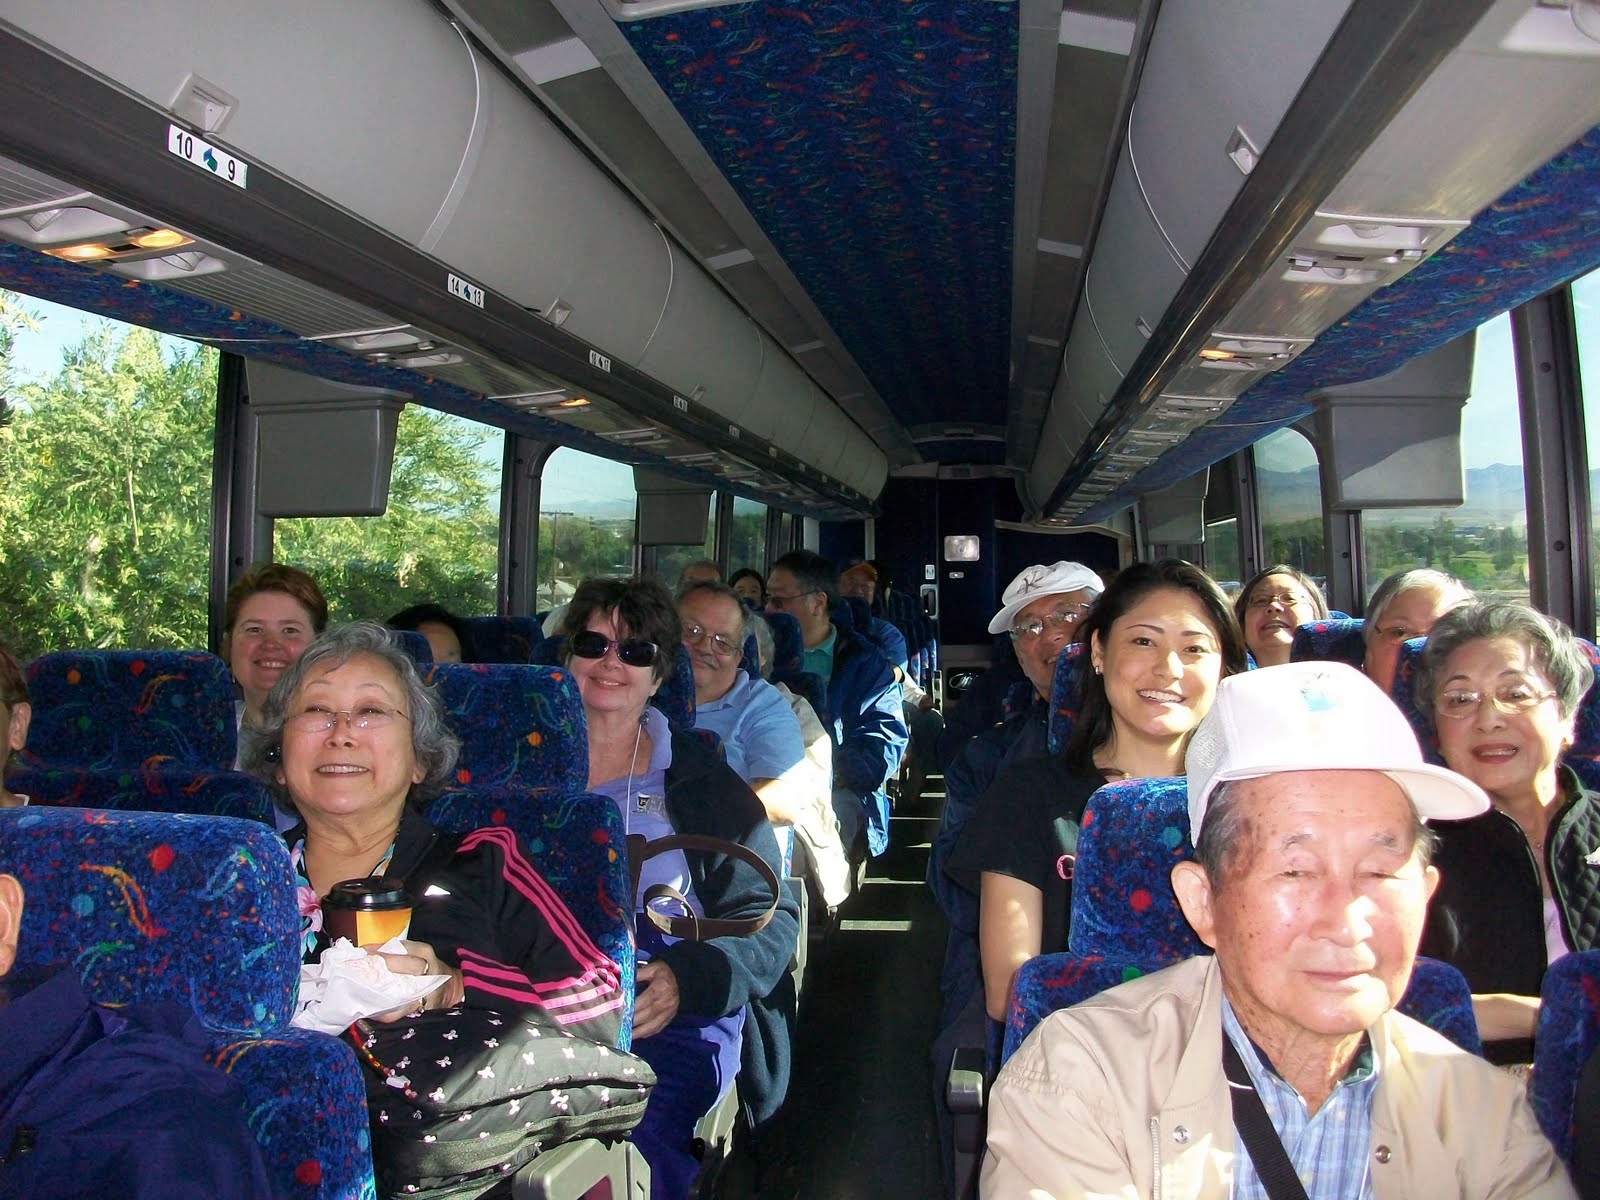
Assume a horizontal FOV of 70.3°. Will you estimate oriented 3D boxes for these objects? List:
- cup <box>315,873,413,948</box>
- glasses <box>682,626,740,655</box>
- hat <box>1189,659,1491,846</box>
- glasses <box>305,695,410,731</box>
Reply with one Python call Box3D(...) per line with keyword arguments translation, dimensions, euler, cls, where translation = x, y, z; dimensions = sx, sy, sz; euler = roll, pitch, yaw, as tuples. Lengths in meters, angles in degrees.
Box3D(translation=(-0.894, 0.644, 2.340), dimensions=(0.150, 0.138, 0.149), euler=(1, -2, 0), cls="cup")
Box3D(translation=(-0.386, 0.201, 5.209), dimensions=(0.144, 0.079, 0.183), euler=(4, -12, 4), cls="glasses")
Box3D(translation=(0.908, 0.264, 1.954), dimensions=(0.308, 0.200, 0.393), euler=(2, -23, -3), cls="hat")
Box3D(translation=(-1.089, 0.279, 2.768), dimensions=(0.258, 0.096, 0.076), euler=(1, -2, -20), cls="glasses")
